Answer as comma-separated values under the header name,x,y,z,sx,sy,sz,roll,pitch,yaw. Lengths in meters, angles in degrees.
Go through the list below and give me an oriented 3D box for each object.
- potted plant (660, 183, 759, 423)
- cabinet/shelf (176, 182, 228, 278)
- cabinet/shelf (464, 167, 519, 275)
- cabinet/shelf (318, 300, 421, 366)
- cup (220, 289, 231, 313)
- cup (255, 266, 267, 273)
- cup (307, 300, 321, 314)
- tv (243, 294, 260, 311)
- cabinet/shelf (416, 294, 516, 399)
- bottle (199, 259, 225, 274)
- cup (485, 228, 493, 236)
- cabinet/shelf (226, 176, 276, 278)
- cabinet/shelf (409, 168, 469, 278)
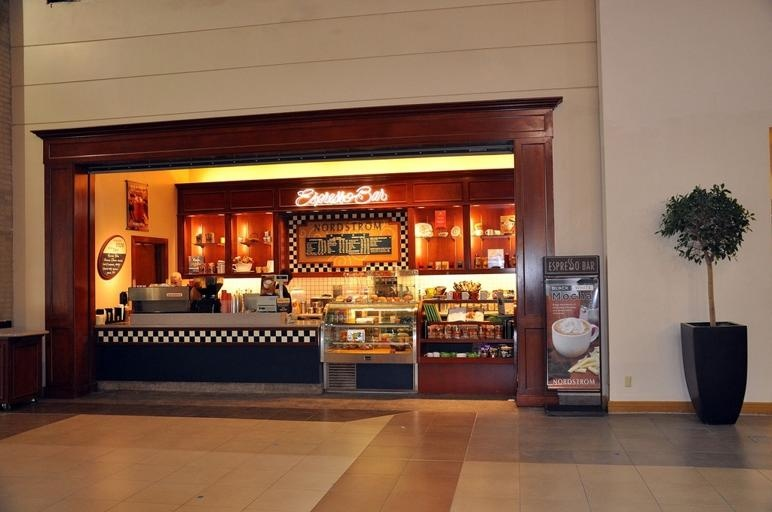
name,x,y,z,sx,sy,sz,roll,pitch,yaw
potted plant,4.349,0.608,9.060,1.045,3.142,0.900,5,9,39
cabinet/shelf,-3.584,-0.416,13.411,1.208,1.939,0.561,-2,-1,-9
cabinet/shelf,1.977,-0.672,12.521,0.846,1.829,0.506,0,7,5
cabinet/shelf,-0.179,1.214,11.067,1.701,1.078,0.923,0,-4,8
cup,-2.644,0.755,11.146,0.189,0.314,0.500,-3,8,-14
cup,-2.443,0.261,13.189,0.229,0.121,0.152,-1,2,9
cup,-1.326,0.958,12.605,0.200,0.214,0.197,-1,-4,0
tv,-2.187,0.782,11.103,0.304,0.357,0.261,1,-8,-3
cabinet/shelf,1.375,1.466,10.901,1.615,1.465,0.917,-1,-5,15
bottle,-3.388,0.218,13.342,0.629,0.240,0.308,3,9,27
cup,1.938,-0.455,12.571,0.086,0.130,0.132,2,-3,-40
cabinet/shelf,-2.594,-0.553,13.161,0.937,1.766,0.575,-1,7,-1
cabinet/shelf,1.028,-0.478,12.673,0.942,1.595,0.487,-2,5,14
